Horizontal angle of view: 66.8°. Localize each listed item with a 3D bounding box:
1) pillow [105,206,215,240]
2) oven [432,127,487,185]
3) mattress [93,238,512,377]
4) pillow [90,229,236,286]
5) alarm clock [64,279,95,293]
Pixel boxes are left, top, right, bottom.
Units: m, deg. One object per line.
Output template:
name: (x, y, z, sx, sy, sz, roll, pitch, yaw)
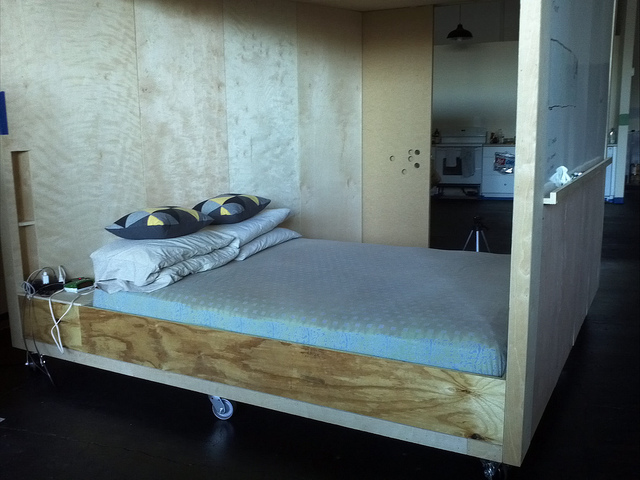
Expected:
pillow: (-0.995, -0.083, 3.096, 0.464, 0.192, 0.526, 0, 4, 26)
oven: (2.742, -1.561, 9.620, 0.873, 0.995, 0.715, 2, -1, 19)
mattress: (0.290, 0.273, 2.923, 2.253, 0.165, 1.582, 2, 13, 39)
pillow: (-0.887, 0.085, 2.962, 0.696, 0.285, 0.741, 7, 8, 25)
alarm clock: (-1.540, 0.290, 3.113, 0.092, 0.034, 0.120, 3, 6, 21)
